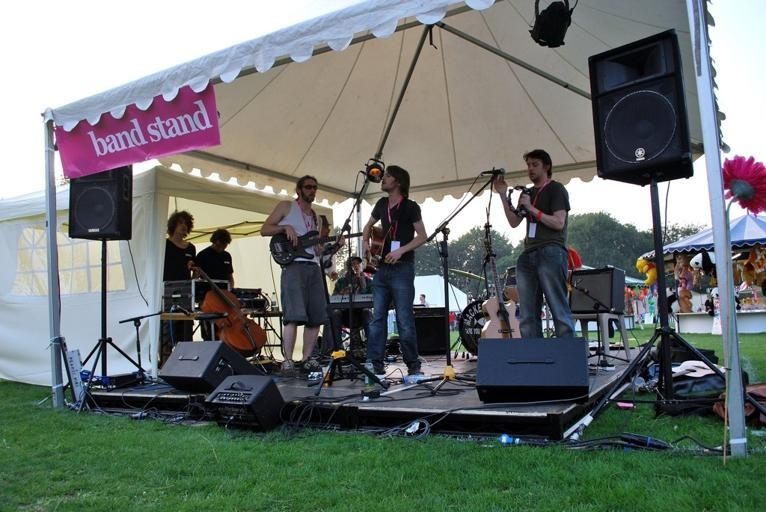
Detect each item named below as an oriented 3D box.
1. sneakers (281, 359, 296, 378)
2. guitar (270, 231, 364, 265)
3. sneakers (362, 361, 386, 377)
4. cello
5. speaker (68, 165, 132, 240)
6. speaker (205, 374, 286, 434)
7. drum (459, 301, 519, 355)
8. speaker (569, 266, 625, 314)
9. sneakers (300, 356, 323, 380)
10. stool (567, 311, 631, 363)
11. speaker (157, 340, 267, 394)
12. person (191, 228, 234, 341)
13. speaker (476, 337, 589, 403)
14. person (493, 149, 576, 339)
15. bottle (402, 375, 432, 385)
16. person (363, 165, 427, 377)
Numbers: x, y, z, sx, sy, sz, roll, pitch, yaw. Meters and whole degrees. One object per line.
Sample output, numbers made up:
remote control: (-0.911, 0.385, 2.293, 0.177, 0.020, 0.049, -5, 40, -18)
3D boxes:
sneakers: (-1.100, 1.327, 8.439, 0.159, 0.199, 0.254, -1, -6, -7)
guitar: (-0.887, -0.085, 8.512, 0.880, 0.406, 0.412, -1, -5, -9)
sneakers: (-0.091, 1.312, 8.194, 0.114, 0.134, 0.293, 0, -3, 30)
cello: (-1.924, 0.862, 9.317, 0.301, 1.546, 0.603, -41, -15, 19)
speaker: (-3.351, -0.624, 8.523, 0.717, 0.899, 0.225, -2, -5, 6)
speaker: (-1.327, 1.415, 7.166, 0.564, 0.469, 0.585, -11, 18, 33)
drum: (1.466, 0.965, 10.424, 0.621, 0.957, 0.266, -4, -3, -30)
speaker: (2.752, 0.458, 9.197, 0.510, 0.537, 0.283, -7, -11, 43)
sneakers: (-0.839, 1.350, 8.460, 0.148, 0.257, 0.428, 2, -13, -37)
stool: (2.814, 0.978, 9.469, 0.724, 0.787, 0.771, -6, -6, 30)
speaker: (-1.929, 1.089, 7.975, 0.712, 0.529, 0.685, -7, -3, 38)
person: (-2.399, 0.319, 10.186, 0.305, 1.526, 0.605, -31, -36, 21)
speaker: (1.418, 1.069, 6.808, 1.063, 0.643, 0.713, -1, 8, 7)
person: (1.666, -0.180, 7.813, 0.741, 2.113, 0.706, -3, -5, 16)
bottle: (0.373, 1.400, 8.091, 0.193, 0.070, 0.125, -4, 1, 16)
person: (0.152, 0.158, 8.463, 0.730, 2.570, 0.802, -1, -5, -2)
